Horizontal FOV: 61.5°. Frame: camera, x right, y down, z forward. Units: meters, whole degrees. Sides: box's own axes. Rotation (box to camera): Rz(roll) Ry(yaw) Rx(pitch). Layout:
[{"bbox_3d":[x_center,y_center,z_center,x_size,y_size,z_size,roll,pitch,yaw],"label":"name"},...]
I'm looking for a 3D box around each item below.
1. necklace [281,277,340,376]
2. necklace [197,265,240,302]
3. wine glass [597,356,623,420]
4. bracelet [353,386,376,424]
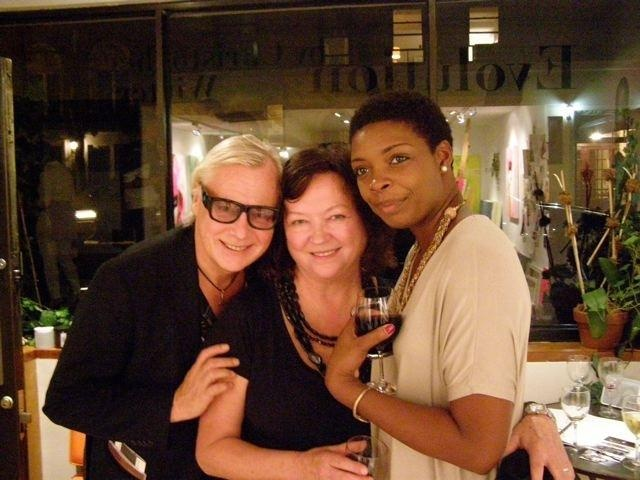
[{"bbox_3d":[-0.119,0.428,2.645,0.060,0.396,0.299,-26,-6,20],"label":"necklace"},{"bbox_3d":[-0.530,0.246,2.805,0.187,0.168,0.050,0,-32,-37],"label":"necklace"},{"bbox_3d":[1.898,0.954,3.519,0.133,0.363,0.246,-1,2,28],"label":"wine glass"},{"bbox_3d":[0.154,0.656,2.164,0.053,0.146,0.121,18,-21,-4],"label":"bracelet"}]
